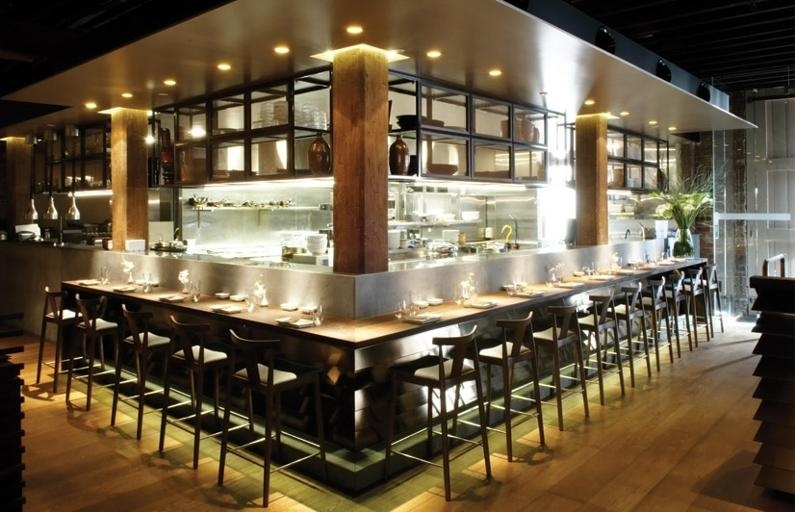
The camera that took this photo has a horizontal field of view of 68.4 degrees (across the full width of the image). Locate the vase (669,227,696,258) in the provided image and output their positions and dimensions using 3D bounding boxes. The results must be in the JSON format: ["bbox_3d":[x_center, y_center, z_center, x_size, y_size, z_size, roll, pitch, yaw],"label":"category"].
[{"bbox_3d":[4.905,-0.203,10.029,0.542,0.486,0.542,0,-2,-43],"label":"vase"}]

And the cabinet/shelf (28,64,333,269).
[{"bbox_3d":[-3.041,-1.277,8.732,7.471,2.543,1.530,9,18,35],"label":"cabinet/shelf"}]

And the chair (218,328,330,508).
[{"bbox_3d":[-1.290,1.358,5.501,0.967,1.469,1.222,-14,19,-41],"label":"chair"}]

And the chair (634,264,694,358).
[{"bbox_3d":[3.733,0.849,8.303,0.688,0.945,0.693,-12,-6,14],"label":"chair"}]

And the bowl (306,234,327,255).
[{"bbox_3d":[-0.970,-0.125,6.994,0.255,0.192,0.226,0,1,13],"label":"bowl"}]

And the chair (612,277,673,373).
[{"bbox_3d":[2.948,0.878,7.613,0.740,0.905,0.710,0,8,-5],"label":"chair"}]

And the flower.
[{"bbox_3d":[4.828,-0.637,9.815,0.986,1.014,0.810,8,-3,-22],"label":"flower"}]

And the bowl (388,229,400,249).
[{"bbox_3d":[-0.037,-0.215,8.258,0.245,0.252,0.239,1,4,0],"label":"bowl"}]

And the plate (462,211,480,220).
[{"bbox_3d":[1.202,-0.649,9.702,0.210,0.088,0.210,-2,-2,35],"label":"plate"}]

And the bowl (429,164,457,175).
[{"bbox_3d":[0.546,-1.024,6.995,0.423,0.153,0.105,-12,18,-38],"label":"bowl"}]

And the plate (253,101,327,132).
[{"bbox_3d":[-1.282,-1.622,6.783,1.016,0.331,0.249,8,17,32],"label":"plate"}]
